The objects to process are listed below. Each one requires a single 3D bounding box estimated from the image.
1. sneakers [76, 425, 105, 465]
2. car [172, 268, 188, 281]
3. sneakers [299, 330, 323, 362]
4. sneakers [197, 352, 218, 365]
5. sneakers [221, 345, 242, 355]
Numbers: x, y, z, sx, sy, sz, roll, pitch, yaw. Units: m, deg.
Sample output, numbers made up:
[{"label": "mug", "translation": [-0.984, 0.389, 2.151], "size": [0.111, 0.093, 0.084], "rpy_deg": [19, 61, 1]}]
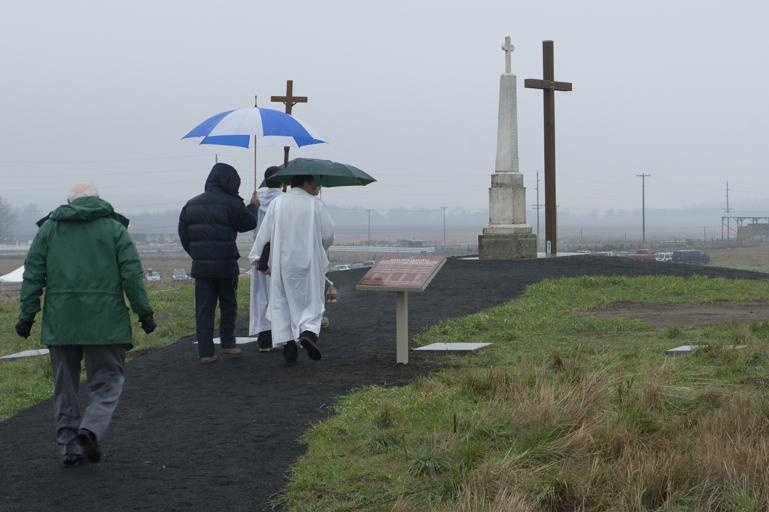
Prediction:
[{"label": "sneakers", "translation": [-3.175, 2.020, 8.827], "size": [0.165, 0.462, 0.201], "rpy_deg": [-16, -3, 2]}, {"label": "car", "translation": [-17.465, 1.553, 69.730], "size": [1.003, 0.838, 1.669], "rpy_deg": [-1, -7, -13]}, {"label": "sneakers", "translation": [-1.033, 1.298, 11.557], "size": [0.203, 0.531, 0.225], "rpy_deg": [-9, 43, 19]}, {"label": "sneakers", "translation": [-2.561, 1.474, 11.931], "size": [0.275, 0.141, 0.285], "rpy_deg": [-10, 14, -21]}, {"label": "sneakers", "translation": [-2.344, 1.429, 12.452], "size": [0.251, 0.111, 0.116], "rpy_deg": [-4, 6, -6]}]
